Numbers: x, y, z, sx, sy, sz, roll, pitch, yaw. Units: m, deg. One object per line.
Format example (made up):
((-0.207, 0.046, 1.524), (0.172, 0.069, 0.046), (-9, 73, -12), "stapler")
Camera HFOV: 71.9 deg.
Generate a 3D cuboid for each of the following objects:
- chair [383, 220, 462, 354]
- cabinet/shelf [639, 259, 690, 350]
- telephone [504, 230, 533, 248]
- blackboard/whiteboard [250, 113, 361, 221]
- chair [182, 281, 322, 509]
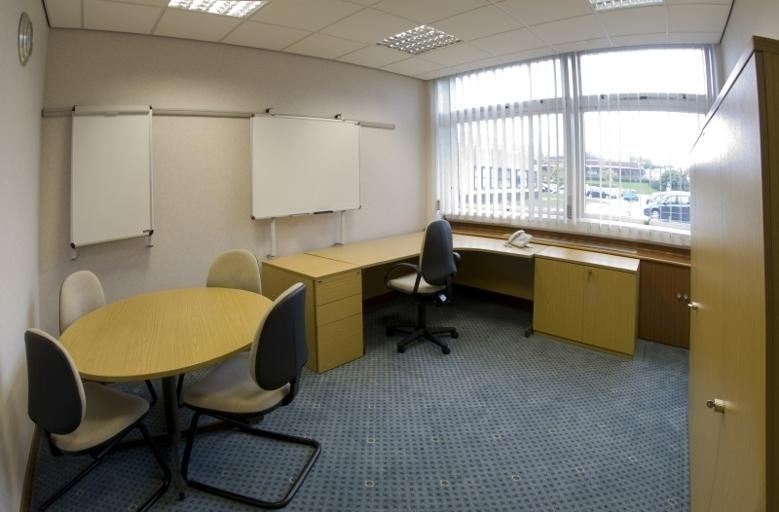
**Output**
((0.343, 0.229, 5.725), (0.790, 1.330, 1.038), (0, 12, -2), "chair")
((2.770, 0.467, 5.375), (0.729, 0.739, 0.288), (8, 15, 39), "cabinet/shelf")
((1.426, -0.221, 6.033), (0.217, 0.091, 0.215), (-29, 25, -28), "telephone")
((-0.964, -0.975, 5.802), (1.111, 0.955, 0.151), (-6, 8, -39), "blackboard/whiteboard")
((-1.009, 0.957, 3.941), (0.858, 1.494, 0.668), (4, 12, 19), "chair")
